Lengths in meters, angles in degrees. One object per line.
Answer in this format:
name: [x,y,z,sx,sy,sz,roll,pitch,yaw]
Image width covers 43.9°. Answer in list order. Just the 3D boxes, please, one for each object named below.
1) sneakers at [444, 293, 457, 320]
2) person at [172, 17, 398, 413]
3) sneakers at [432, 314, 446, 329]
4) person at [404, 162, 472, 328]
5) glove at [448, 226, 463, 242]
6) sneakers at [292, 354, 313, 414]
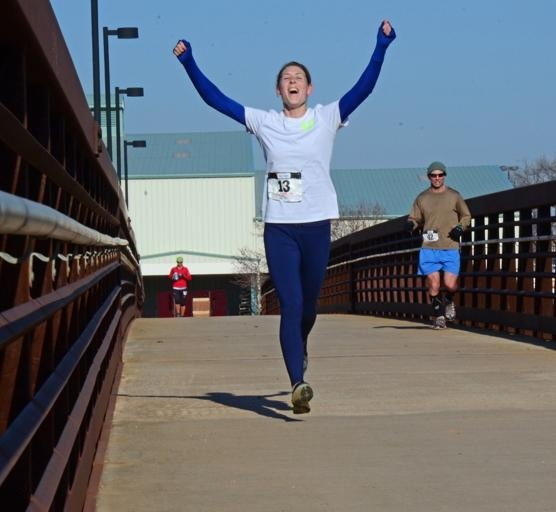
sneakers: [2.138,0.635,8.579,0.106,0.456,0.158,0,5,11]
person: [0.065,-0.290,3.857,1.128,1.944,0.400,0,-2,-3]
sneakers: [2.020,0.854,8.767,0.174,0.250,0.221,2,1,21]
person: [1.993,-0.110,8.366,0.537,2.063,0.876,1,-2,-27]
glove: [2.080,-0.260,8.095,0.153,0.183,0.358,-1,-1,15]
sneakers: [0.126,0.746,3.596,0.104,0.193,0.219,0,-1,2]
